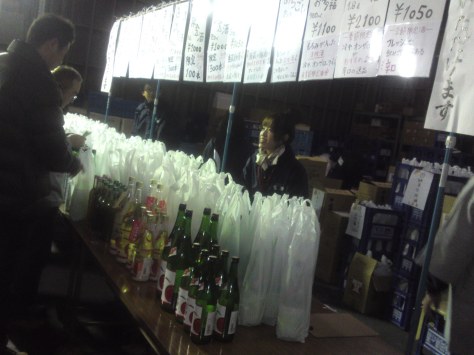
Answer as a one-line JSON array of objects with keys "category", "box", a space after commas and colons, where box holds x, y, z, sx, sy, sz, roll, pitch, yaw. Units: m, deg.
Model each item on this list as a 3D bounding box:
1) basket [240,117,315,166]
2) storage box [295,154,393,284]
[{"category": "basket", "box": [0.501, -0.449, 4.514, 0.547, 0.771, 1.103, -2, 11, -13]}, {"category": "storage box", "box": [1.272, -0.151, 5.152, 1.276, 2.056, 2.590, 4, 14, 14]}]
